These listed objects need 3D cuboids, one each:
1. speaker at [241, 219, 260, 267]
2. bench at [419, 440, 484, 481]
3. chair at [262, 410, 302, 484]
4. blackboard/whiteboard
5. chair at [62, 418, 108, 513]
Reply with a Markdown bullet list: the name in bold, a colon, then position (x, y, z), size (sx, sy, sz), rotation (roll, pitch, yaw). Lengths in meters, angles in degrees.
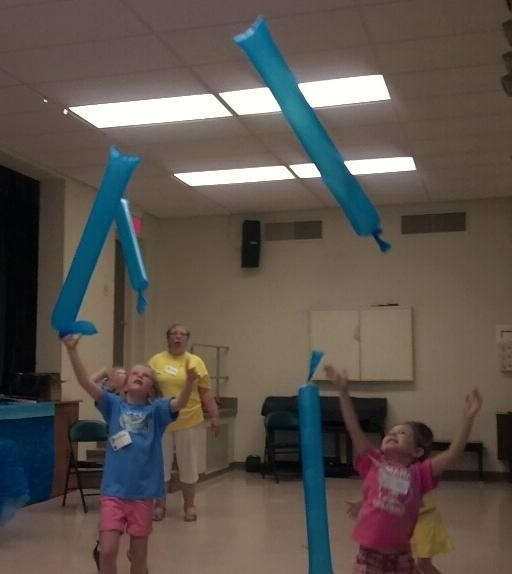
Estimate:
- **speaker**: position (-0.095, -0.676, 8.226), size (0.284, 0.702, 0.127), rotation (0, -3, 2)
- **bench**: position (2.594, 2.262, 7.041), size (0.595, 0.510, 0.369), rotation (-6, -16, 21)
- **chair**: position (0.345, 2.088, 7.347), size (0.489, 0.905, 0.909), rotation (0, -4, 1)
- **blackboard/whiteboard**: position (1.470, 0.719, 7.153), size (0.917, 0.838, 0.116), rotation (-2, -9, 13)
- **chair**: position (-1.663, 1.742, 5.294), size (0.388, 0.847, 0.415), rotation (9, -13, 22)
